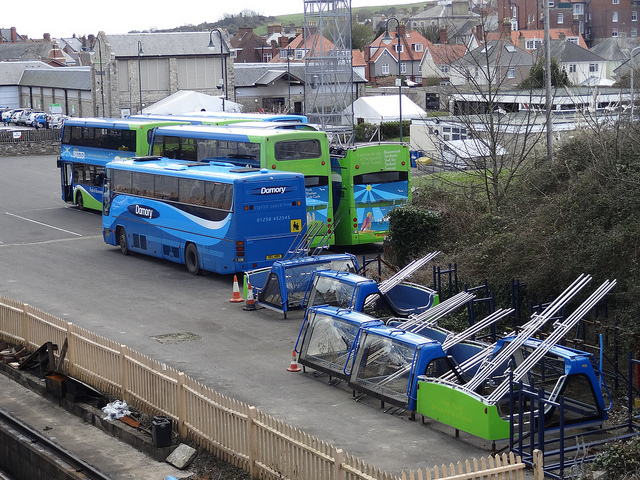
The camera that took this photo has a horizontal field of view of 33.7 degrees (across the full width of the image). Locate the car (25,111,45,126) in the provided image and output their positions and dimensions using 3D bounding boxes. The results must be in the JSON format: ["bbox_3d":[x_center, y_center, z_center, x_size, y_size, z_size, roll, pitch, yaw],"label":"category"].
[{"bbox_3d":[-26.844,-11.481,99.063,1.587,0.810,0.887,-13,17,-33],"label":"car"}]

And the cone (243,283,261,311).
[{"bbox_3d":[-2.125,1.748,32.604,0.421,0.794,0.494,3,10,25],"label":"cone"}]

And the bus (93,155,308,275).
[{"bbox_3d":[-4.462,-0.955,38.346,2.687,3.822,9.628,-10,13,-41],"label":"bus"}]

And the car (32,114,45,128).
[{"bbox_3d":[-25.951,-11.030,97.512,0.792,0.794,1.534,-2,18,-15],"label":"car"}]

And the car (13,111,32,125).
[{"bbox_3d":[-28.488,-11.635,100.345,0.972,0.890,1.695,1,18,6],"label":"car"}]

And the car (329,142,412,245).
[{"bbox_3d":[1.646,-1.991,42.652,2.582,3.613,7.830,-2,4,-8],"label":"car"}]

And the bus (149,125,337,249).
[{"bbox_3d":[-3.420,-2.486,41.855,3.100,4.699,9.914,-10,14,-32],"label":"bus"}]

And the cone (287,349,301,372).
[{"bbox_3d":[-0.619,3.125,27.522,0.434,0.597,0.439,2,7,4],"label":"cone"}]

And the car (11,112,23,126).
[{"bbox_3d":[-29.086,-11.533,100.609,0.832,1.111,2.131,-6,10,-22],"label":"car"}]

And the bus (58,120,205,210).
[{"bbox_3d":[-9.115,-3.954,50.060,8.872,4.888,3.541,15,18,42],"label":"bus"}]

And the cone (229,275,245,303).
[{"bbox_3d":[-2.685,1.528,33.626,0.458,0.760,0.944,-3,10,-5],"label":"cone"}]
